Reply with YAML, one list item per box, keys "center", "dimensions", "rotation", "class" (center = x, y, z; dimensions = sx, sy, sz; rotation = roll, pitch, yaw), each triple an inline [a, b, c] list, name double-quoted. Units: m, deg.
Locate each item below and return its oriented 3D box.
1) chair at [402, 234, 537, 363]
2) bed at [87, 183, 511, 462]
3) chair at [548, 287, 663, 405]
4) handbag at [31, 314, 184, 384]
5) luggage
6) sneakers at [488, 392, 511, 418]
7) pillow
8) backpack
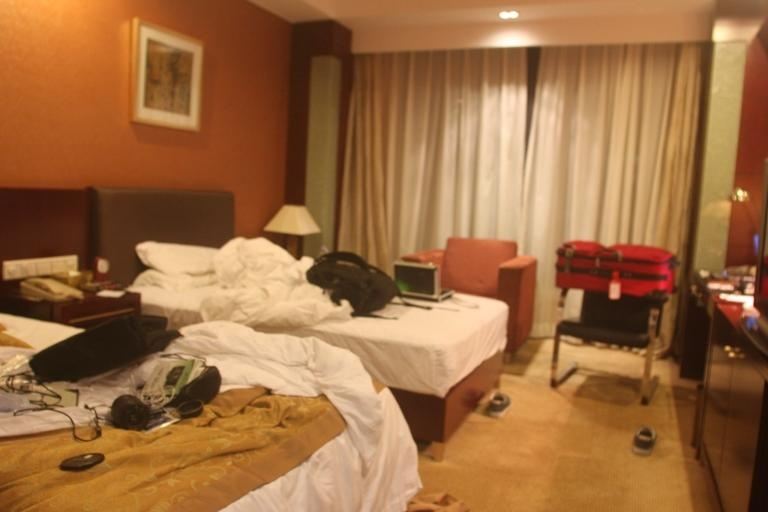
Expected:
- center: [0.739, 0.366, 4.840]
  dimensions: [1.128, 0.979, 0.641]
  rotation: [6, 7, 29]
  class: "chair"
- center: [-0.606, 0.315, 4.692]
  dimensions: [3.026, 1.790, 1.806]
  rotation: [4, 9, 23]
  class: "bed"
- center: [1.889, 0.685, 4.844]
  dimensions: [0.824, 0.863, 0.772]
  rotation: [4, 7, 25]
  class: "chair"
- center: [-1.541, 0.516, 3.236]
  dimensions: [0.497, 0.158, 0.390]
  rotation: [-21, 0, -8]
  class: "handbag"
- center: [2.108, 0.082, 5.011]
  dimensions: [1.196, 0.343, 1.149]
  rotation: [1, 6, -1]
  class: "luggage"
- center: [0.874, 1.116, 4.375]
  dimensions: [0.113, 0.072, 0.186]
  rotation: [3, 14, 21]
  class: "sneakers"
- center: [-1.667, 0.069, 4.674]
  dimensions: [0.490, 0.144, 0.460]
  rotation: [15, 31, -19]
  class: "pillow"
- center: [-0.167, 0.205, 4.420]
  dimensions: [0.836, 0.413, 0.560]
  rotation: [2, 6, 13]
  class: "backpack"
